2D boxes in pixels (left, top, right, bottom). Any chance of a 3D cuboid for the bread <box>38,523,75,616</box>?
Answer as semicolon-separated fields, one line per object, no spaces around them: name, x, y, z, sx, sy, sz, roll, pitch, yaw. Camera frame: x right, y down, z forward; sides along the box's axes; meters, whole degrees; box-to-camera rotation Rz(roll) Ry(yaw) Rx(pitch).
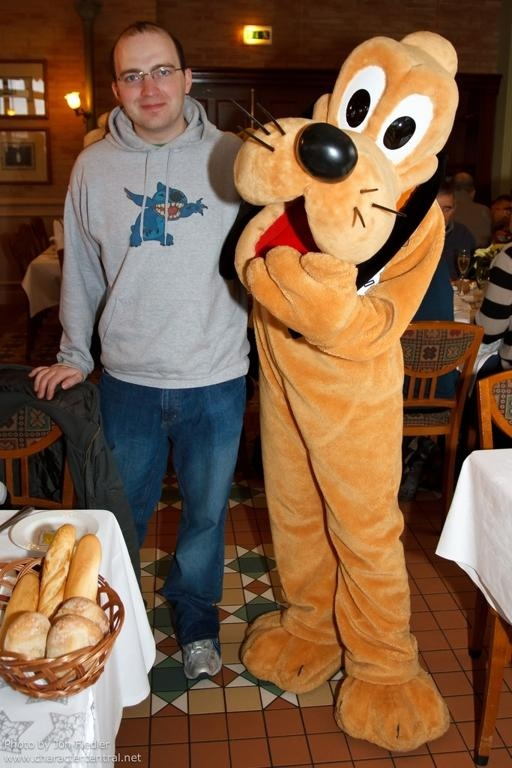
bread;-0.303;0.283;0.935;0.033;0.029;0.131;30;33;-18

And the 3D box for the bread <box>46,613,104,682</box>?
bread;-0.222;0.316;0.741;0.060;0.035;0.070;5;-4;-4

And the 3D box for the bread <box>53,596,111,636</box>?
bread;-0.238;0.301;0.832;0.056;0.027;0.056;30;1;38

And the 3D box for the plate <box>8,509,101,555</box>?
plate;-0.429;0.292;1.255;0.122;0.012;0.114;11;20;23

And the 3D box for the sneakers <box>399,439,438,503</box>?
sneakers;0.827;0.417;3.167;0.273;0.307;0.129;2;9;-2

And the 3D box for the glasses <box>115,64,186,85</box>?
glasses;-0.285;-0.836;1.662;0.167;0.057;0.071;-4;20;-13
